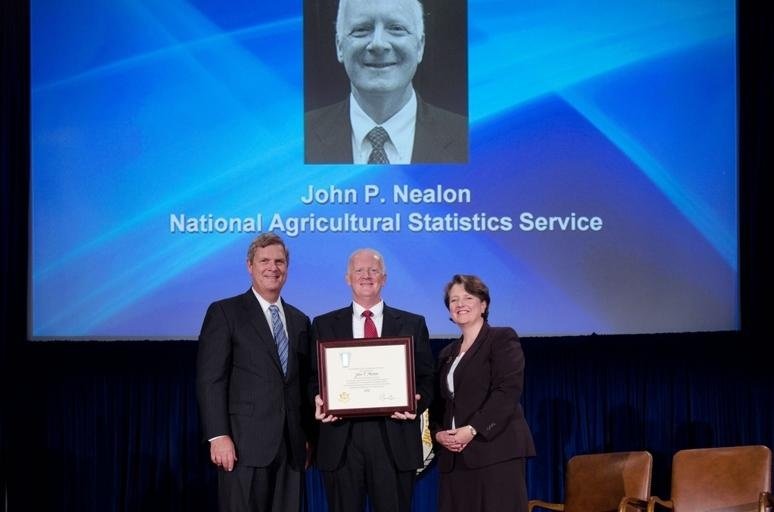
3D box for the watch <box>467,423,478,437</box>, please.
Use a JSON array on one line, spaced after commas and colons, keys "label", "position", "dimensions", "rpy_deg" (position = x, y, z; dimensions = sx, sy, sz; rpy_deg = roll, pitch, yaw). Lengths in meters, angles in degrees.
[{"label": "watch", "position": [0.591, 1.206, 4.942], "dimensions": [0.017, 0.066, 0.062], "rpy_deg": [-22, 10, -24]}]
